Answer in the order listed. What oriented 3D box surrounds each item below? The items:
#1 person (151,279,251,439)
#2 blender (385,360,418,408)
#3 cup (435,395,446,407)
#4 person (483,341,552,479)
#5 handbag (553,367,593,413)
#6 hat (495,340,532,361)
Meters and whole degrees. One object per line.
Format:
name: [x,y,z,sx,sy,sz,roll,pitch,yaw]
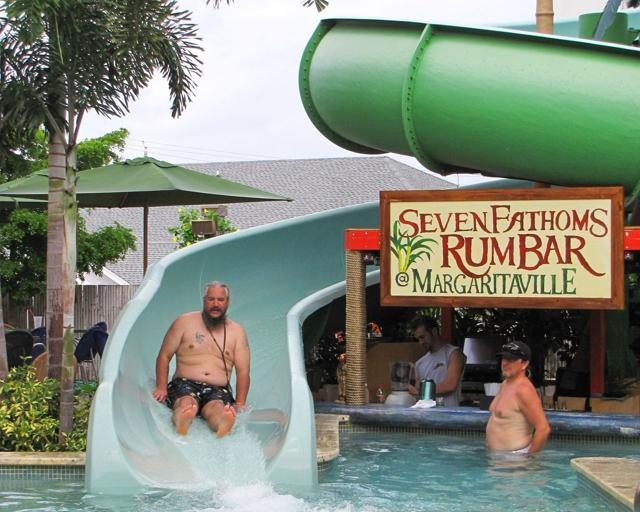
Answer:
person: [-0.969,0.809,7.443,0.726,1.208,0.672,-1,-6,2]
blender: [0.829,1.374,9.410,0.342,0.501,0.350,0,-10,27]
cup: [1.198,1.442,9.078,0.097,0.094,0.100,1,1,0]
person: [1.619,1.222,7.618,0.563,1.015,0.562,-3,-7,20]
handbag: [3.144,1.643,11.470,0.550,0.539,0.424,1,1,45]
hat: [1.664,0.797,7.710,0.234,0.118,0.164,8,-10,-33]
